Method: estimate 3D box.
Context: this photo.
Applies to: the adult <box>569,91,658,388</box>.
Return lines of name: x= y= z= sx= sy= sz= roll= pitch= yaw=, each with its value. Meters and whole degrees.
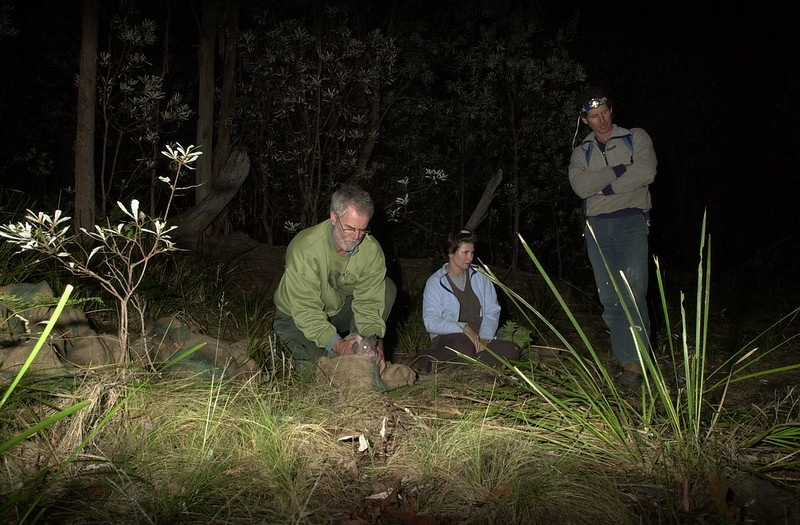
adult: x=2.364 y=-0.303 z=6.269 sx=0.896 sy=3.104 sz=0.782 roll=-4 pitch=-7 yaw=26

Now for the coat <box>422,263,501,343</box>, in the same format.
coat: x=0.791 y=0.449 z=6.571 sx=0.697 sy=0.959 sz=0.905 roll=-16 pitch=6 yaw=-44

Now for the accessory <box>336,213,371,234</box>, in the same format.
accessory: x=-0.459 y=-0.373 z=5.392 sx=0.291 sy=0.208 sz=0.206 roll=-1 pitch=7 yaw=-9

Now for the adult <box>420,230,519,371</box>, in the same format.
adult: x=0.686 y=0.390 z=6.373 sx=1.043 sy=1.481 sz=1.043 roll=-2 pitch=0 yaw=-39

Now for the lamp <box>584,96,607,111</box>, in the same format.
lamp: x=2.020 y=-1.651 z=5.901 sx=0.136 sy=0.057 sz=0.154 roll=-29 pitch=-7 yaw=1
